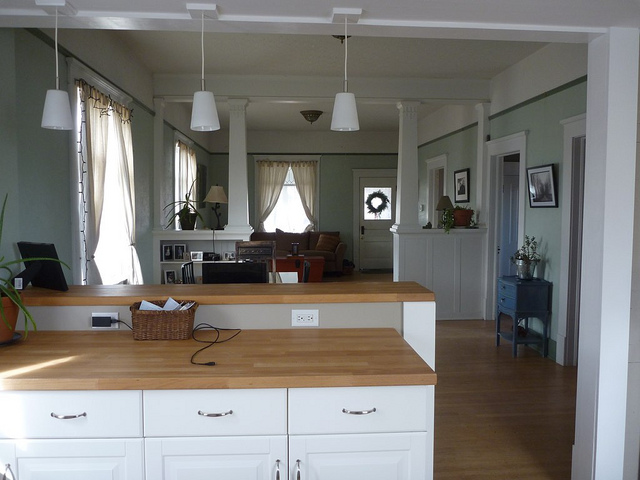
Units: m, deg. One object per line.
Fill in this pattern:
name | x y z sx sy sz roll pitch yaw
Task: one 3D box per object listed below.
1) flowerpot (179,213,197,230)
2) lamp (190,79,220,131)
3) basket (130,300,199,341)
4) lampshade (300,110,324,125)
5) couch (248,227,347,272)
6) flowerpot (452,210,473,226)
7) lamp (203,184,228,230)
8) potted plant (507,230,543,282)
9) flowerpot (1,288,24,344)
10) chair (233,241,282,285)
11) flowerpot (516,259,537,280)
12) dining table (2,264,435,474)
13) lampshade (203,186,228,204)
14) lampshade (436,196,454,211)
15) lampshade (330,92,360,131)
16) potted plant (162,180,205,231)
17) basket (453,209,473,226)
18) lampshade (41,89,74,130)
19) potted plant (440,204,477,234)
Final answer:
flowerpot | -1.675 -0.234 6.681 0.194 0.171 0.198 1 -3 1
lamp | -0.707 -0.859 3.199 0.155 0.335 0.156 1 15 0
basket | -0.914 0.471 3.079 0.281 0.132 0.209 1 1 -4
lampshade | -0.123 -1.973 8.247 0.304 0.189 0.385 -1 9 1
couch | -0.545 0.267 10.414 2.081 0.836 0.726 1 5 -2
flowerpot | 1.860 -0.286 6.767 0.208 0.161 0.212 1 2 -3
lamp | -1.456 -0.473 7.472 0.377 0.644 0.428 1 2 -14
potted plant | 2.307 0.176 5.773 0.461 0.675 0.498 -1 -2 28
flowerpot | -1.757 0.428 2.987 0.097 0.277 0.301 -4 10 -20
chair | -0.594 0.218 5.121 0.463 0.650 0.478 1 -6 -4
flowerpot | 2.169 0.303 5.493 0.207 0.189 0.194 2 2 -8
dining table | -0.551 0.746 2.826 2.231 0.839 0.674 -1 9 -4
lampshade | -1.442 -0.615 7.372 0.307 0.235 0.318 2 -3 -11
lampshade | 1.751 -0.515 7.260 0.210 0.159 0.200 3 6 44
lampshade | 0.166 -0.836 3.376 0.163 0.241 0.174 0 10 7
potted plant | -1.747 -0.425 7.078 0.599 0.729 0.632 -4 -3 37
basket | 1.859 -0.292 6.768 0.211 0.163 0.214 0 3 -3
lampshade | -1.626 -0.809 3.378 0.226 0.254 0.233 3 -3 -17
potted plant | 1.853 -0.270 6.878 0.499 0.292 0.338 -1 9 -2
